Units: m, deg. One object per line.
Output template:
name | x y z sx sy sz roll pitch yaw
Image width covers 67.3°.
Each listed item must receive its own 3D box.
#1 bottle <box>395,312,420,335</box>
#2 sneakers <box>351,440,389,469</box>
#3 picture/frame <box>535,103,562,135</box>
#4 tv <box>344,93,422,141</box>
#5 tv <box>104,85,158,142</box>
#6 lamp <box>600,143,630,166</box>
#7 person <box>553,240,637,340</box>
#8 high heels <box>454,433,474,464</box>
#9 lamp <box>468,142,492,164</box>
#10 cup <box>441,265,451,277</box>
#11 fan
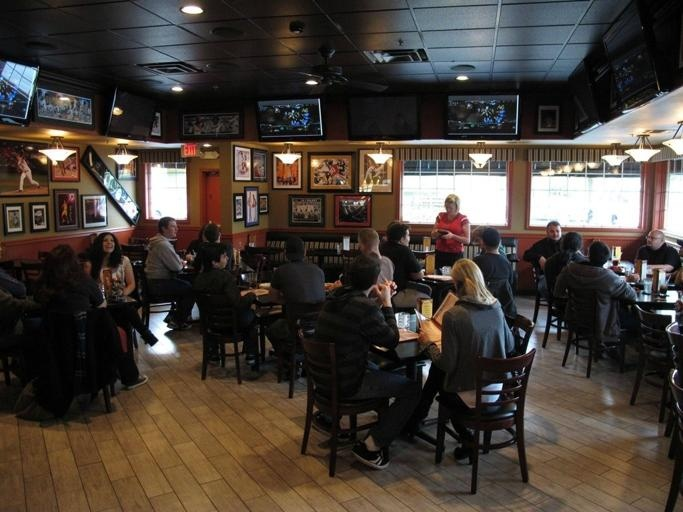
bottle | 0.585 0.582 4.538 0.168 0.186 0.186 6 10 38
sneakers | 0.244 1.642 4.293 0.351 0.160 0.142 22 8 28
picture/frame | 3.407 -2.270 8.445 0.500 0.663 0.045 1 2 -1
tv | 0.699 -2.324 8.572 1.219 0.727 0.148 2 25 12
tv | -3.606 -2.453 8.758 0.090 0.626 0.863 12 6 17
lamp | 5.084 -1.903 9.546 0.592 0.428 0.587 -2 4 5
person | 3.062 0.445 6.217 0.878 1.233 0.712 3 17 15
high heels | 1.028 1.614 4.282 0.133 0.287 0.096 43 -36 -24
lamp | 2.669 -1.866 9.687 0.386 0.534 1.701 3 13 15
cup | 1.476 0.217 7.221 0.154 0.128 0.170 0 -4 4
fan | -0.039 -2.546 7.318 1.012 0.511 2.311 -1 12 -5
